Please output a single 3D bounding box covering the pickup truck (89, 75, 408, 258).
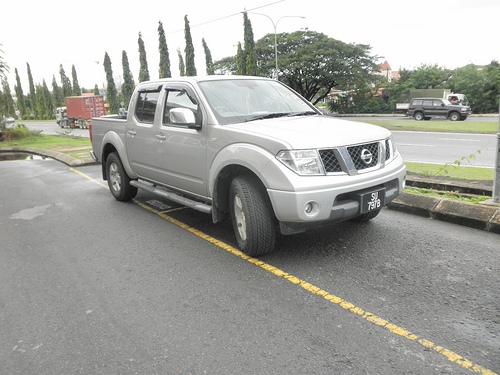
[{"bbox_3d":[-0.629,-0.926,6.635,3.422,2.663,7.010,-12,17,-38],"label":"pickup truck"}]

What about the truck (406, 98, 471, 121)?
[{"bbox_3d":[18.427,-7.698,30.175,5.164,2.301,2.589,4,13,34],"label":"truck"}]

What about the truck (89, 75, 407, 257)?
[{"bbox_3d":[-0.750,-0.866,6.437,6.817,2.640,3.582,12,18,43],"label":"truck"}]

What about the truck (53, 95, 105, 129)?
[{"bbox_3d":[-23.604,-10.287,42.076,7.733,4.087,2.518,9,16,34],"label":"truck"}]

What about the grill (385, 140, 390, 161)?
[{"bbox_3d":[1.941,-0.537,4.320,0.069,0.260,0.266,4,15,24],"label":"grill"}]
